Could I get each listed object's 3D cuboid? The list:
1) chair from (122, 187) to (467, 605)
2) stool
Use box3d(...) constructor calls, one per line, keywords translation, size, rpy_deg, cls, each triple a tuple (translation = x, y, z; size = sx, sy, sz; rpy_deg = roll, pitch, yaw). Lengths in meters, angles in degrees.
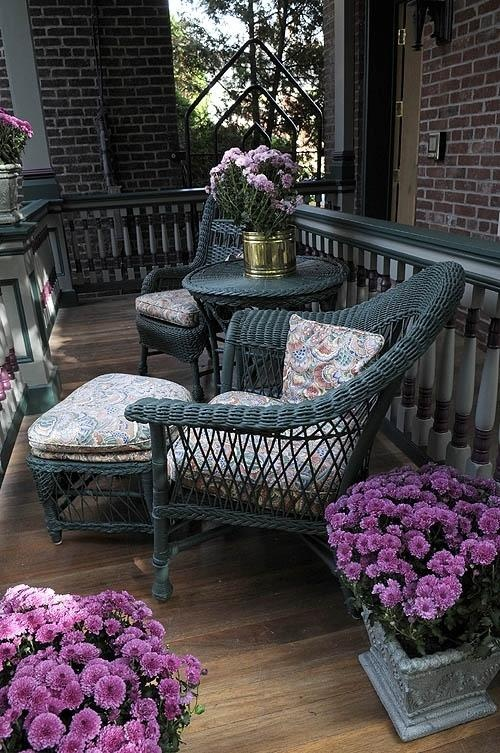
box3d(translation=(-0.031, 0.009, 1.548), size=(0.863, 0.837, 0.894), rpy_deg=(3, 26, 4), cls="chair")
box3d(translation=(-0.410, 0.229, 1.893), size=(0.456, 0.391, 0.594), rpy_deg=(2, 33, 1), cls="stool")
